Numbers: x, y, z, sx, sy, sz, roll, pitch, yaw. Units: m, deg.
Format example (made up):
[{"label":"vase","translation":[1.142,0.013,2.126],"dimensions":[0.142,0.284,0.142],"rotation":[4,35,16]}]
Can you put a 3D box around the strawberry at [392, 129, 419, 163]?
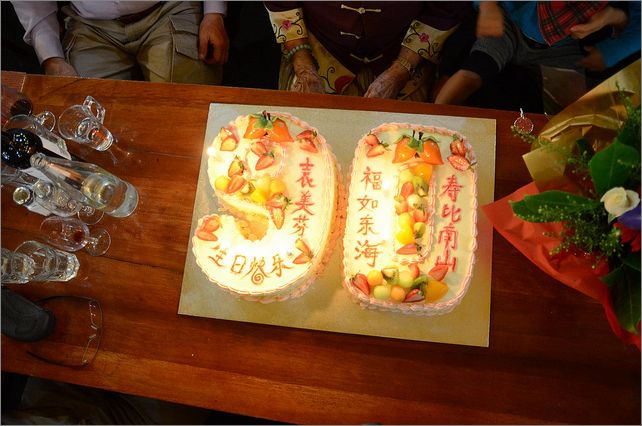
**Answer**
[{"label":"strawberry","translation":[0.473,-0.360,2.535],"dimensions":[0.114,0.060,0.170],"rotation":[38,102,17]}]

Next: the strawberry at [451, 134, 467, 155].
[{"label":"strawberry","translation":[0.771,-0.373,2.556],"dimensions":[0.073,0.063,0.101],"rotation":[-1,85,6]}]

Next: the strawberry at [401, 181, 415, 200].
[{"label":"strawberry","translation":[0.467,-0.119,2.502],"dimensions":[0.064,0.027,0.086],"rotation":[24,97,12]}]

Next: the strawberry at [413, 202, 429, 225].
[{"label":"strawberry","translation":[0.539,0.009,2.486],"dimensions":[0.081,0.023,0.089],"rotation":[1,83,1]}]

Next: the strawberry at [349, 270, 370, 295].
[{"label":"strawberry","translation":[0.213,0.379,2.508],"dimensions":[0.088,0.060,0.113],"rotation":[-34,78,15]}]

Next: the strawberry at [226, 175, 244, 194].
[{"label":"strawberry","translation":[-0.481,-0.154,2.575],"dimensions":[0.078,0.032,0.104],"rotation":[31,90,11]}]

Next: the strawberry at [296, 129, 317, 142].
[{"label":"strawberry","translation":[-0.090,-0.431,2.608],"dimensions":[0.086,0.027,0.067],"rotation":[-30,59,-6]}]

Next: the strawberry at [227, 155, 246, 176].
[{"label":"strawberry","translation":[-0.476,-0.260,2.590],"dimensions":[0.099,0.045,0.094],"rotation":[-36,74,-1]}]

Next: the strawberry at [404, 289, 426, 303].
[{"label":"strawberry","translation":[0.491,0.444,2.424],"dimensions":[0.098,0.045,0.063],"rotation":[-31,90,11]}]

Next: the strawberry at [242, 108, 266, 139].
[{"label":"strawberry","translation":[-0.367,-0.502,2.618],"dimensions":[0.107,0.042,0.162],"rotation":[40,114,18]}]

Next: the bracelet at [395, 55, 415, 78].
[{"label":"bracelet","translation":[0.568,-0.983,3.125],"dimensions":[0.108,0.110,0.111],"rotation":[-45,78,7]}]

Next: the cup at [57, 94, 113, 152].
[{"label":"cup","translation":[-1.434,-0.530,2.811],"dimensions":[0.195,0.307,0.302],"rotation":[20,88,13]}]

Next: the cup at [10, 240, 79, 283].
[{"label":"cup","translation":[-1.686,0.277,2.639],"dimensions":[0.152,0.154,0.230],"rotation":[-4,85,22]}]
